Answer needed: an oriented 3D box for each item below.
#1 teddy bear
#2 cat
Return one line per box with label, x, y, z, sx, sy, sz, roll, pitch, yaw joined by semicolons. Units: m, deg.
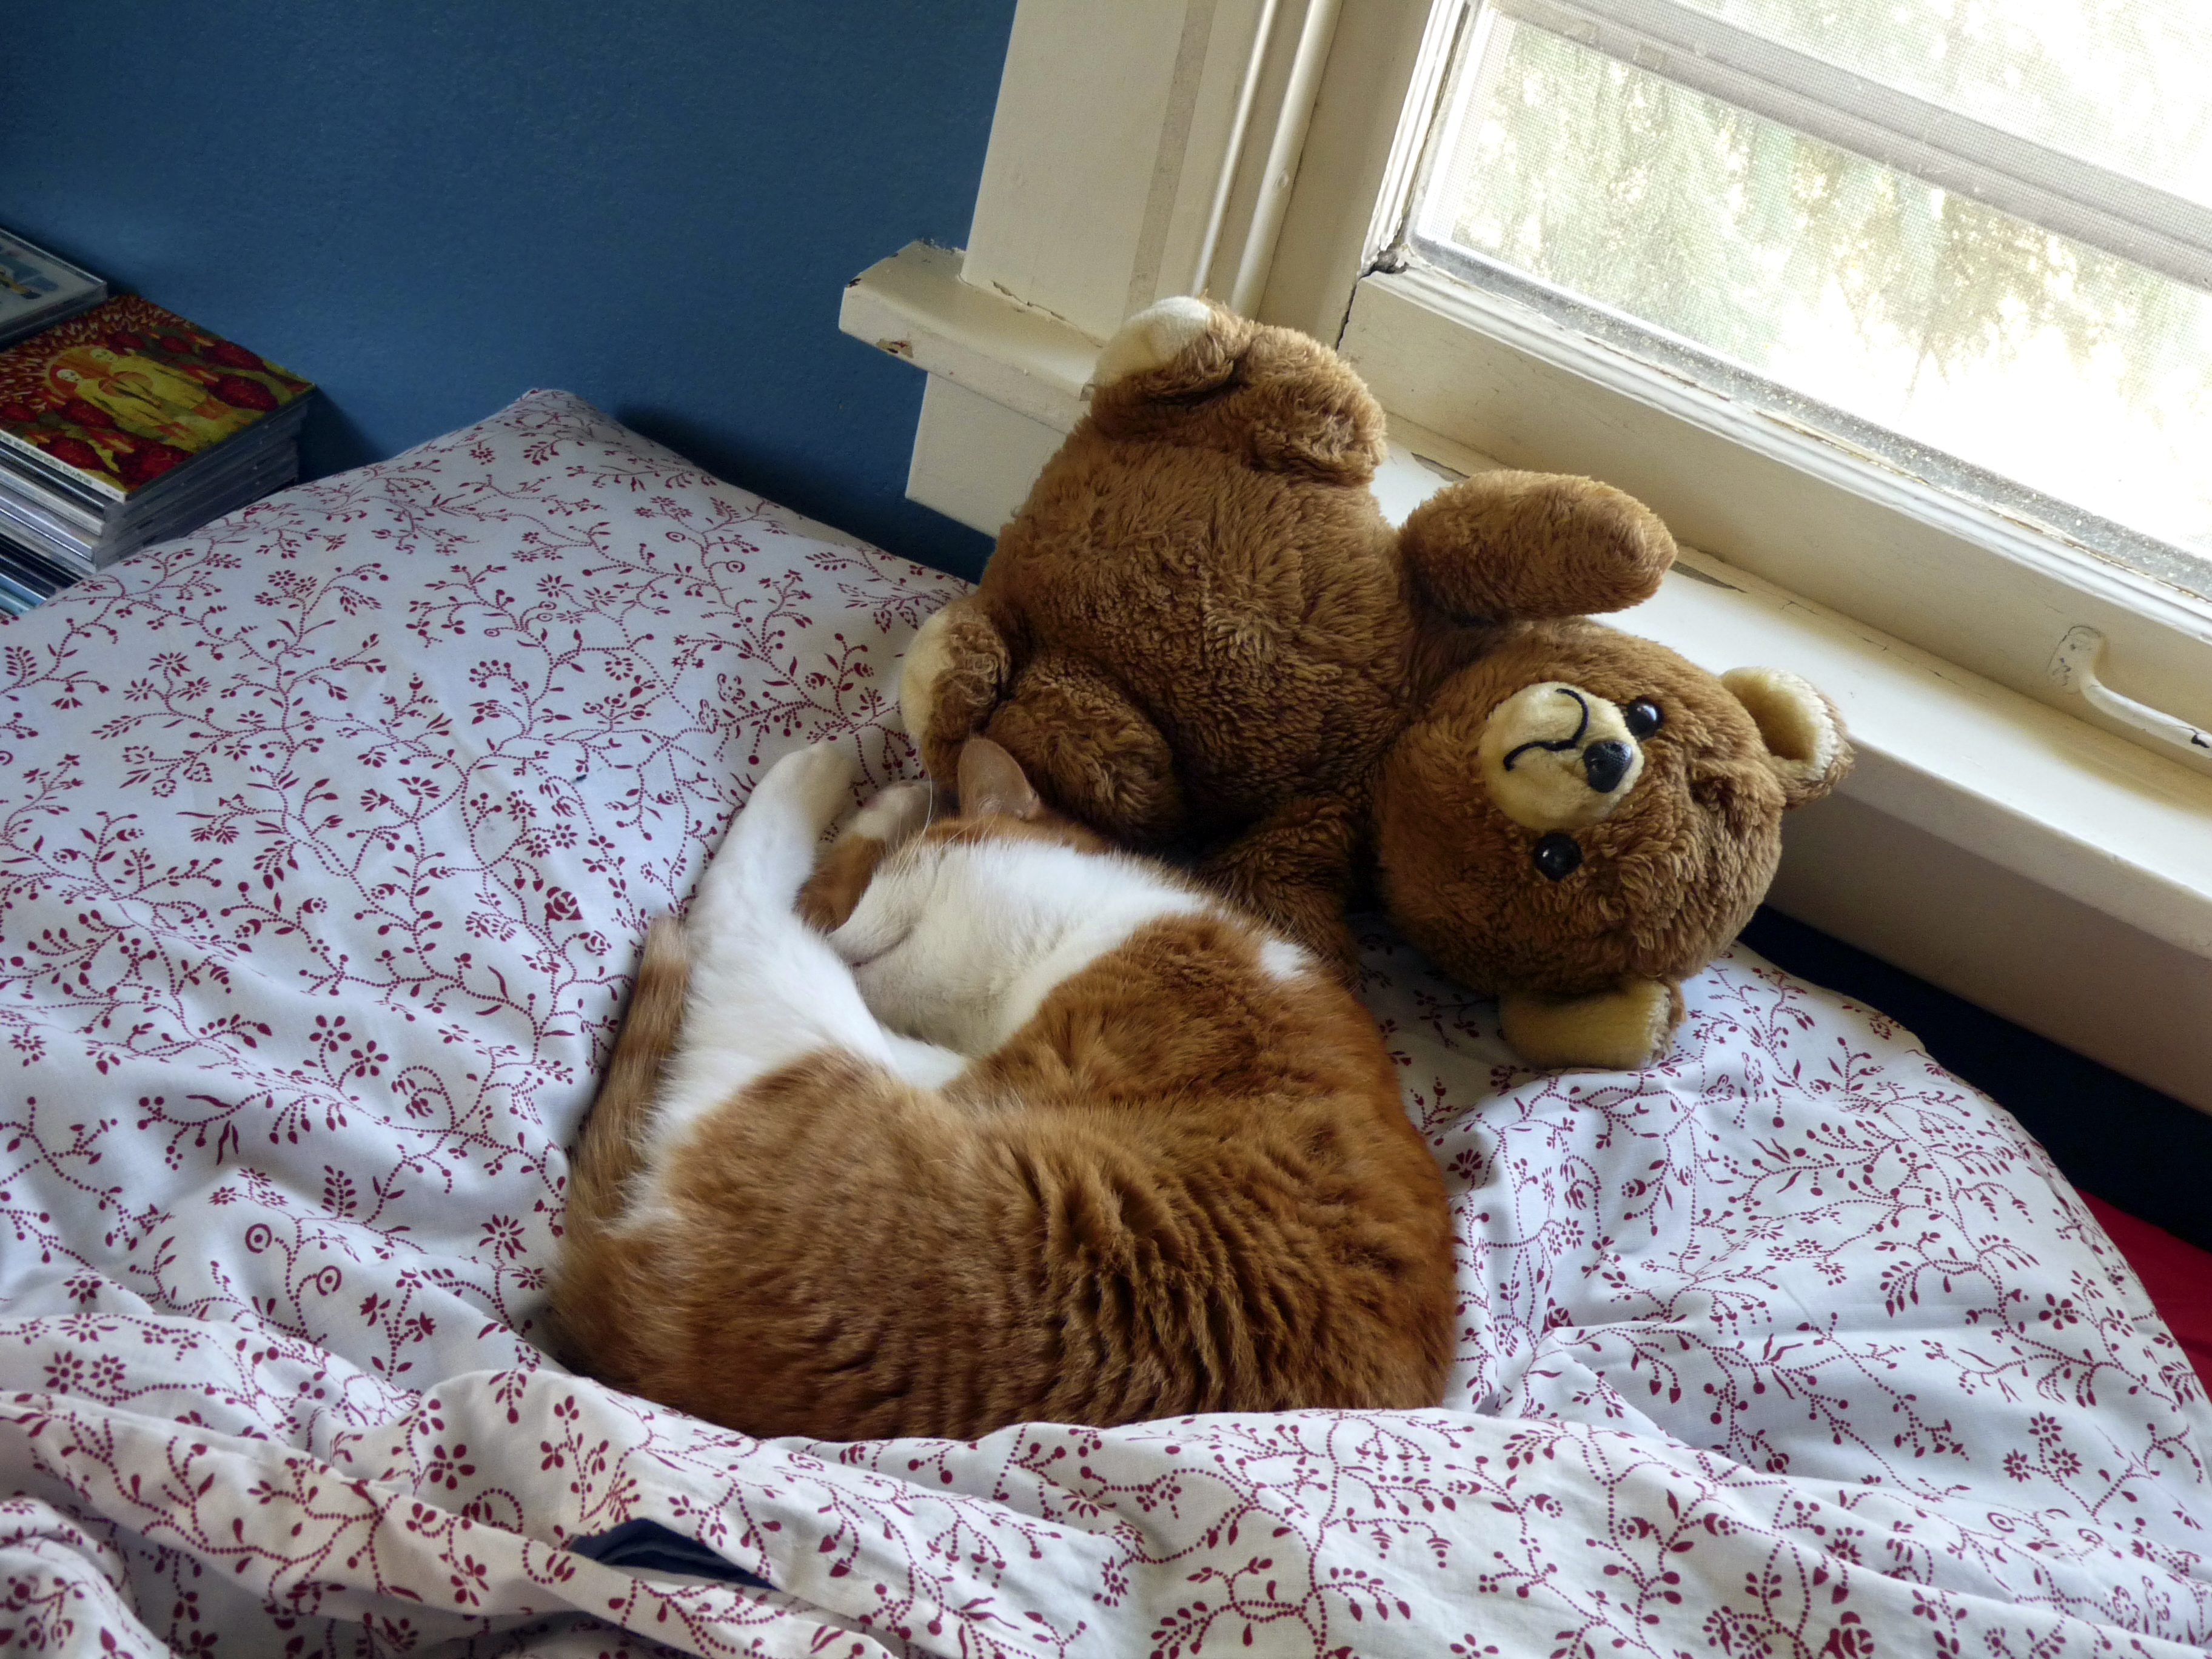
teddy bear;0.224;-0.089;1.543;0.682;0.281;0.466;29;88;8
cat;-0.044;0.147;1.268;0.557;0.163;0.536;8;46;-5
